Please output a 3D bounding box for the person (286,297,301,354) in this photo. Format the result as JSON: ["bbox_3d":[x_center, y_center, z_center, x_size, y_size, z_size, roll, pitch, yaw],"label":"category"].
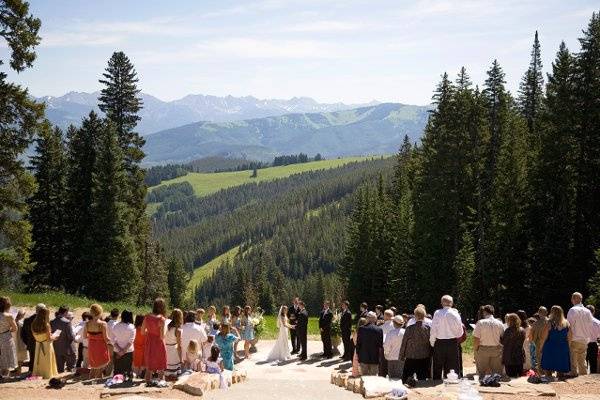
[{"bbox_3d":[-0.235,8.511,39.080,1.353,4.158,1.161,0,19,4],"label":"person"}]

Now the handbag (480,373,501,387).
[{"bbox_3d":[8.881,8.330,27.285,0.617,0.231,0.571,4,0,-30],"label":"handbag"}]
